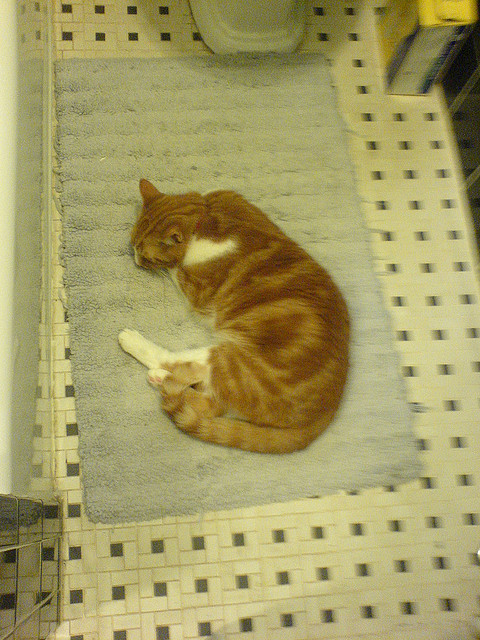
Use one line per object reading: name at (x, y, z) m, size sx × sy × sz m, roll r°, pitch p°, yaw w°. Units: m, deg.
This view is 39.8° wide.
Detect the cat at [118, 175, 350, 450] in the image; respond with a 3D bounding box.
cat at (-0.024, -0.001, 1.668) m, size 0.746 × 0.207 × 0.558 m, roll 30°, pitch 66°, yaw -30°
